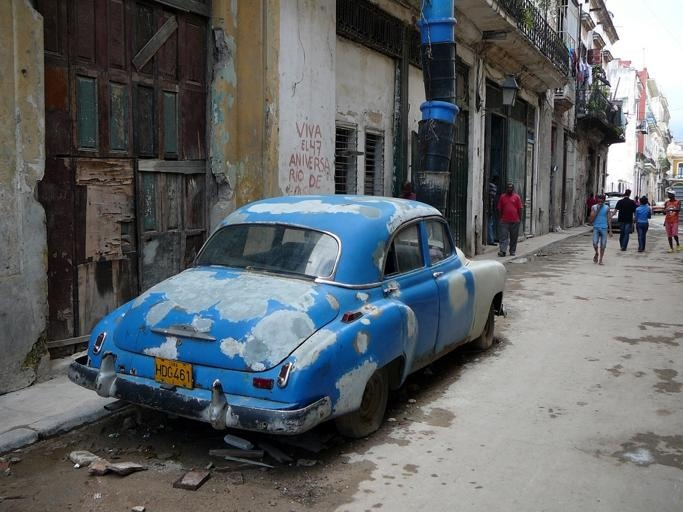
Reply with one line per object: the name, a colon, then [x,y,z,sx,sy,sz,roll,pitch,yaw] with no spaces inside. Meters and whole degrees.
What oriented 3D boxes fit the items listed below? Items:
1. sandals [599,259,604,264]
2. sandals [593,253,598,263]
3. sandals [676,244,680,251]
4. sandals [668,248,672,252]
sandals: [7.072,0.185,15.996,0.088,0.162,0.327,-7,-9,14]
sandals: [6.988,0.024,16.142,0.108,0.167,0.384,5,31,18]
sandals: [11.623,-0.282,20.246,0.089,0.158,0.309,0,22,22]
sandals: [11.103,-0.176,19.866,0.107,0.078,0.172,-2,6,18]
